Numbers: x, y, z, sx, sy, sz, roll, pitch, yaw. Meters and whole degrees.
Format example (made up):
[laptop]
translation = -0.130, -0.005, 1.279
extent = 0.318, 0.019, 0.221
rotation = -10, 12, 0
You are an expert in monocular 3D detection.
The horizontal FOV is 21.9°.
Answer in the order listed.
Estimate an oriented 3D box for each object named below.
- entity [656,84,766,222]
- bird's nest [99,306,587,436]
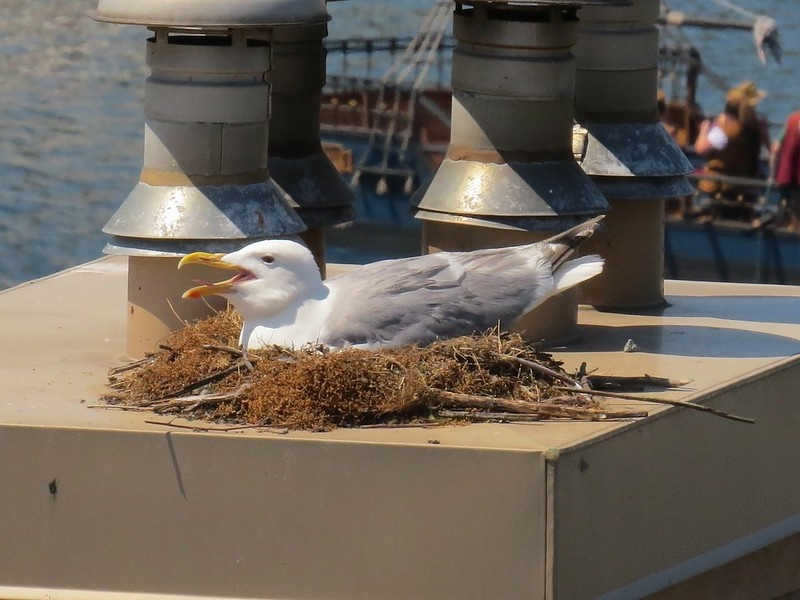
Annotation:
[entity]
translation = 2.764, -1.232, 17.839
extent = 0.822, 1.276, 1.168
rotation = -2, 15, -4
[bird's nest]
translation = -0.302, 0.460, 11.879
extent = 2.553, 0.768, 0.874
rotation = -12, 9, 4
